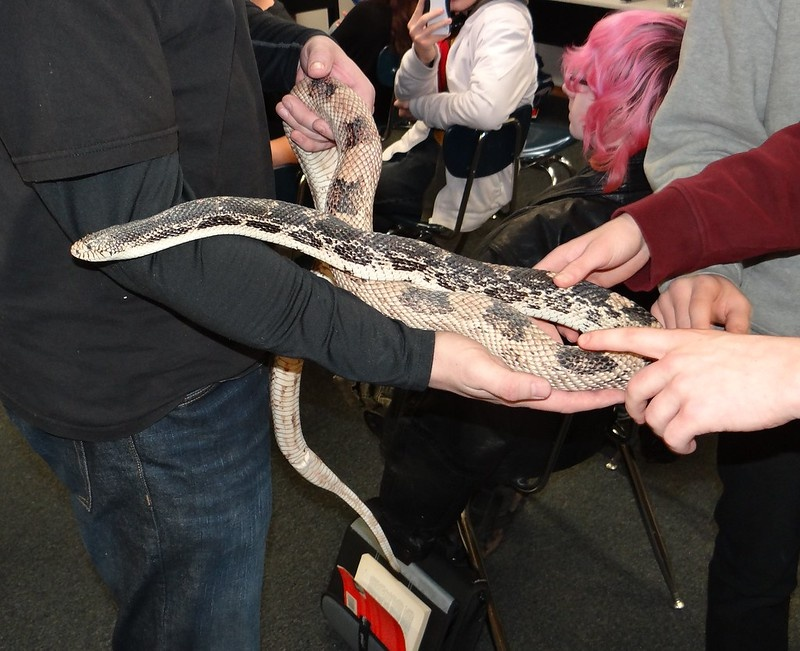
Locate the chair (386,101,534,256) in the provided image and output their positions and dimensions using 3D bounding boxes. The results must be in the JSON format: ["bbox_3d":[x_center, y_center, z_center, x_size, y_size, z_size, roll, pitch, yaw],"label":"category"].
[{"bbox_3d":[0.347,-0.921,4.370,0.635,1.047,0.756,-36,56,-27],"label":"chair"}]

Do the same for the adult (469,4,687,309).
[{"bbox_3d":[0.875,-0.737,3.236,1.153,1.163,0.584,-23,43,-36],"label":"adult"}]
